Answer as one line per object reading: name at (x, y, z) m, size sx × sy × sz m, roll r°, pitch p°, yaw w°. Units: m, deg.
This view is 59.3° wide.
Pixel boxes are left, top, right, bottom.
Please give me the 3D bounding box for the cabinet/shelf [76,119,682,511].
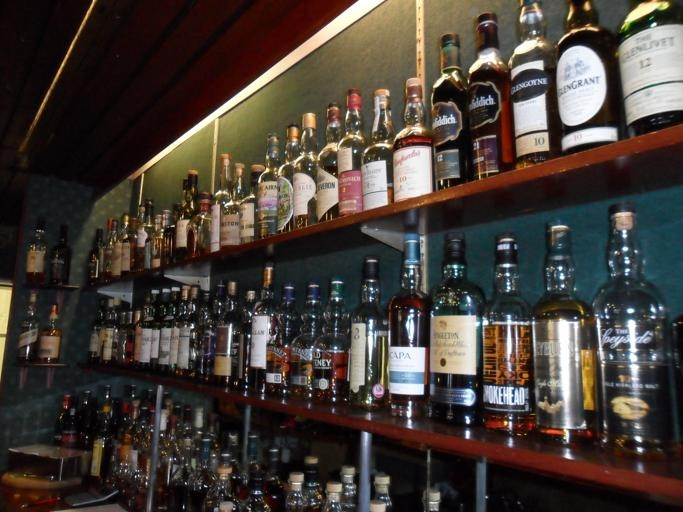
cabinet/shelf at (0.123, 0.266, 1.694) m, size 1.592 × 0.860 × 0.354 m, roll -8°, pitch -15°, yaw 37°
